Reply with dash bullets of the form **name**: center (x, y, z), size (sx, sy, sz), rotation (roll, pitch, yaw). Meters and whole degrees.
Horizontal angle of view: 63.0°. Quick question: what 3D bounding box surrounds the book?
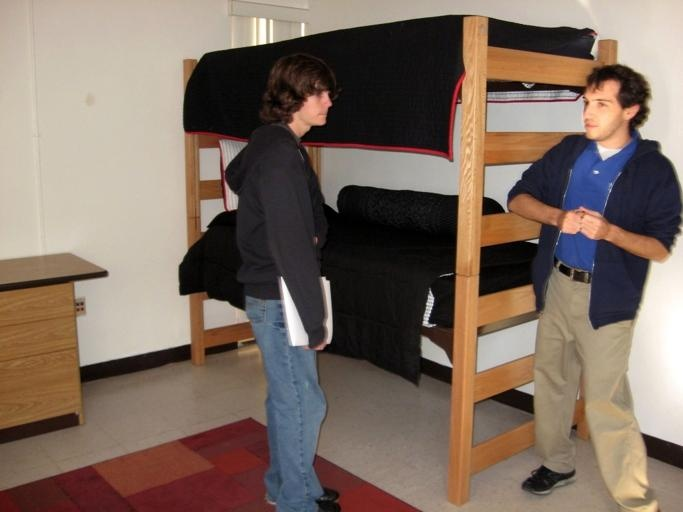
- **book**: center (-0.142, 0.249, 2.426), size (0.242, 0.340, 0.187), rotation (-3, 14, -13)

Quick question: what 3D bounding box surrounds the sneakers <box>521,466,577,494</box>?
- **sneakers**: center (1.117, 1.239, 3.037), size (0.304, 0.127, 0.118), rotation (-7, 16, -20)
